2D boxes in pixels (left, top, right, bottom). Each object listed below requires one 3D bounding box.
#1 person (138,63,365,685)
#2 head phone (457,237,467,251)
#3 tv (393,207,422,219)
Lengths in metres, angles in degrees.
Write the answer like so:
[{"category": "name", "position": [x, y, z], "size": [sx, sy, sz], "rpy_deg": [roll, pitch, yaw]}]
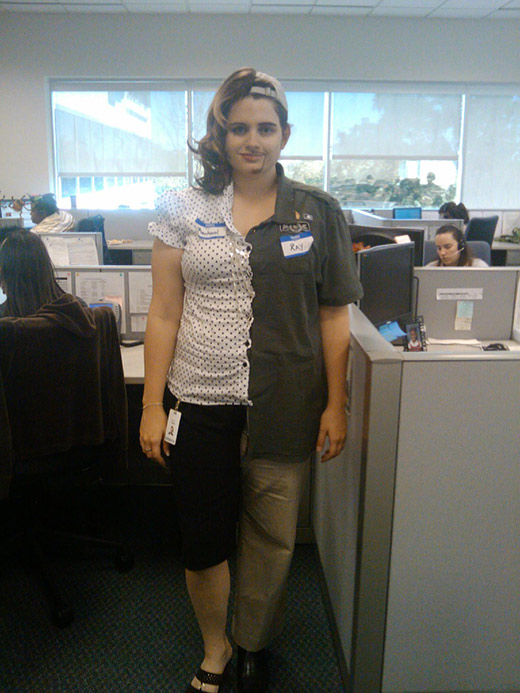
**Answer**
[{"category": "person", "position": [-0.023, 0.141, 1.094], "size": [0.421, 1.290, 0.244], "rpy_deg": [3, 7, 29]}, {"category": "head phone", "position": [1.209, -0.617, 3.257], "size": [0.063, 0.085, 0.028], "rpy_deg": [-6, 1, 0]}, {"category": "tv", "position": [1.678, -1.529, 6.181], "size": [0.301, 0.126, 0.223], "rpy_deg": [1, 8, 10]}]
